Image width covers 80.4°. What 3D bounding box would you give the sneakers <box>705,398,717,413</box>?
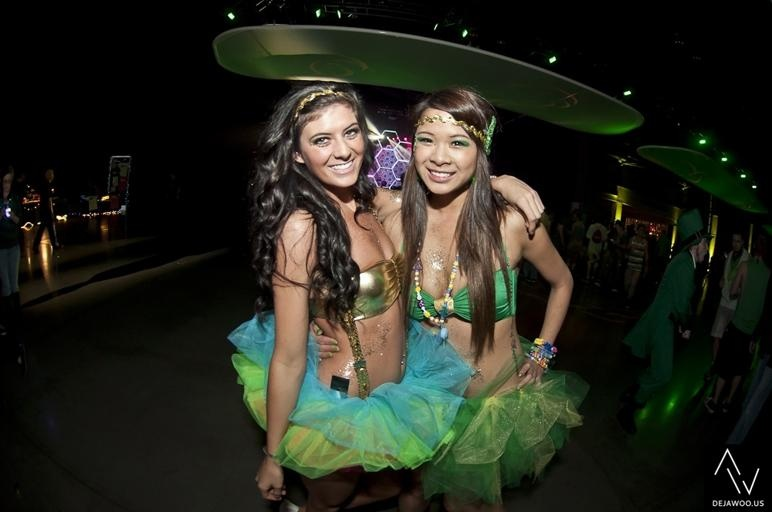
[{"bbox_3d":[4.153,1.923,5.834,0.085,0.150,0.051,5,-4,-1],"label":"sneakers"}]

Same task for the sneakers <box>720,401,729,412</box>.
[{"bbox_3d":[4.276,1.916,5.745,0.075,0.119,0.055,12,14,30],"label":"sneakers"}]

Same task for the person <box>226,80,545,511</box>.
[{"bbox_3d":[-0.478,0.508,3.718,1.499,3.731,1.054,2,12,-11],"label":"person"}]

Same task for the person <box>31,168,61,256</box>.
[{"bbox_3d":[-5.598,-0.732,7.555,0.221,1.385,0.439,8,13,18],"label":"person"}]

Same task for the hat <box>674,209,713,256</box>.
[{"bbox_3d":[4.039,-0.308,6.131,0.437,0.292,0.451,-27,2,32],"label":"hat"}]
